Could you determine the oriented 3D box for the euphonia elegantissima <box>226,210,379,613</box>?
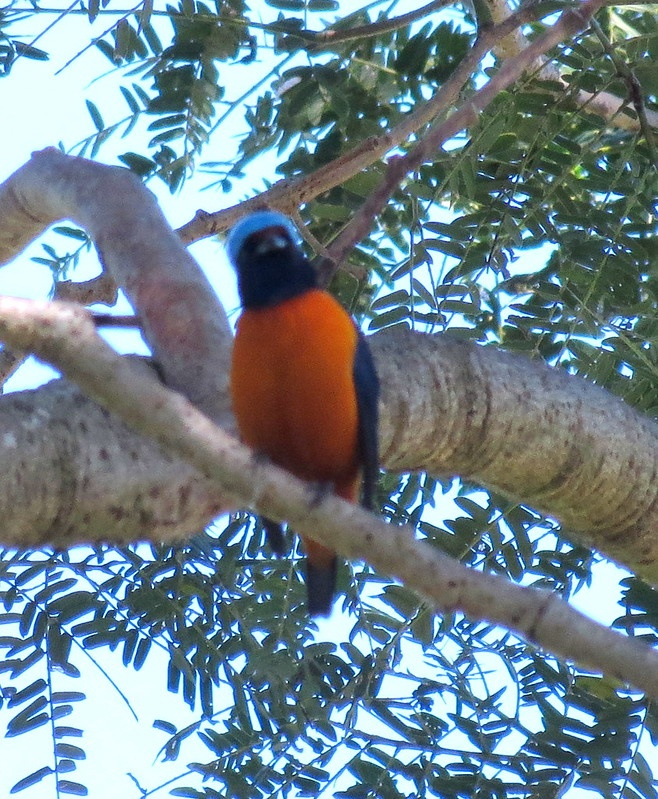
[{"bbox_3d":[-0.115,-0.082,4.824,0.355,0.615,0.543,-3,15,-21],"label":"euphonia elegantissima"}]
